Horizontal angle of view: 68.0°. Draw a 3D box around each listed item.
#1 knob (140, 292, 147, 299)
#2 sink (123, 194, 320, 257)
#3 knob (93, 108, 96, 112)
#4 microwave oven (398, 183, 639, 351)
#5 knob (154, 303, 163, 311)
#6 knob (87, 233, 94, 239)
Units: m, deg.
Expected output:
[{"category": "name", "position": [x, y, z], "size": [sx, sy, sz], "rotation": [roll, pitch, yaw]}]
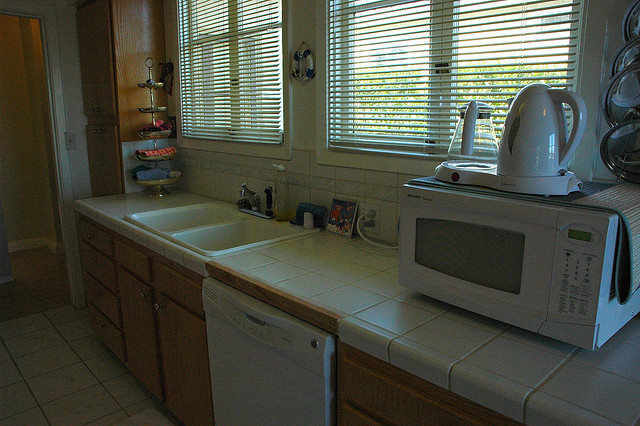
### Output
[{"category": "knob", "position": [-1.034, 0.484, 2.772], "size": [0.016, 0.036, 0.051], "rotation": [-17, 10, 28]}, {"category": "sink", "position": [-0.630, 0.098, 2.895], "size": [1.102, 0.227, 0.721], "rotation": [16, 24, 41]}, {"category": "knob", "position": [-1.785, -0.809, 3.741], "size": [0.010, 0.030, 0.040], "rotation": [-11, 21, -32]}, {"category": "microwave oven", "position": [0.754, 0.023, 1.713], "size": [0.568, 0.459, 0.805], "rotation": [-11, 17, -43]}, {"category": "knob", "position": [-0.894, 0.529, 2.672], "size": [0.036, 0.031, 0.062], "rotation": [27, 18, 39]}, {"category": "knob", "position": [-1.605, 0.166, 3.308], "size": [0.036, 0.025, 0.014], "rotation": [17, 16, 35]}]
